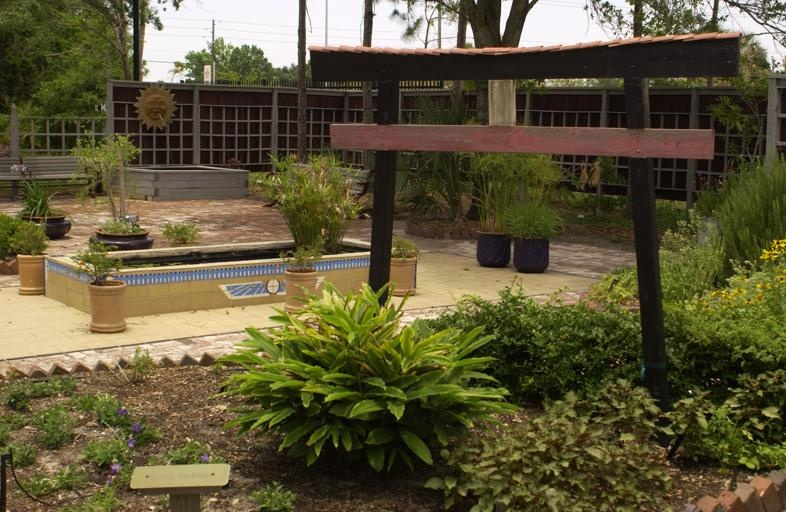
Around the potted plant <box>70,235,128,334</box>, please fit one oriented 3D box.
[{"bbox_3d":[-3.666,0.321,7.225,0.715,1.229,0.553,-6,3,-30],"label":"potted plant"}]
